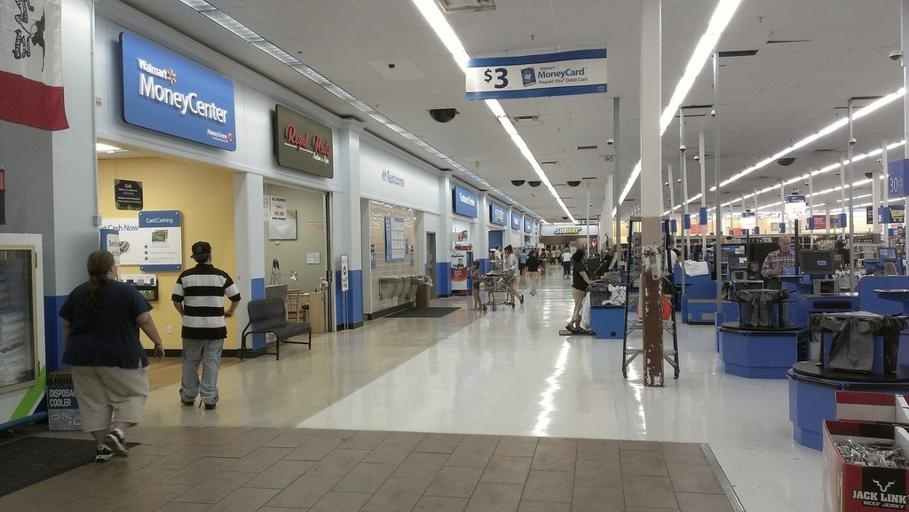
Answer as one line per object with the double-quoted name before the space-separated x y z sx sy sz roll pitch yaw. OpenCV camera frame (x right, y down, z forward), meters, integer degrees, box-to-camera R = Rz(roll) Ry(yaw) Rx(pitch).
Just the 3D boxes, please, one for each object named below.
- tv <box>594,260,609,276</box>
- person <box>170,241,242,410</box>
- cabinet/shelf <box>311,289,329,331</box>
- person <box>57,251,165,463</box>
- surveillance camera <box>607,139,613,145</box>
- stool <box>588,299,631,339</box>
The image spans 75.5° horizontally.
"tv" 4.376 0.350 17.380 0.480 0.598 0.674 -2 -2 10
"person" -3.584 1.014 8.943 1.035 2.221 1.213 0 0 8
"cabinet/shelf" -3.132 1.275 13.606 0.335 0.909 0.526 -5 -6 11
"person" -4.387 1.230 7.853 1.203 2.565 1.216 2 -3 -19
"surveillance camera" 4.175 -3.096 15.781 0.225 0.084 0.246 -1 0 5
"stool" 3.210 1.334 12.205 0.721 0.621 0.701 -1 -2 23
